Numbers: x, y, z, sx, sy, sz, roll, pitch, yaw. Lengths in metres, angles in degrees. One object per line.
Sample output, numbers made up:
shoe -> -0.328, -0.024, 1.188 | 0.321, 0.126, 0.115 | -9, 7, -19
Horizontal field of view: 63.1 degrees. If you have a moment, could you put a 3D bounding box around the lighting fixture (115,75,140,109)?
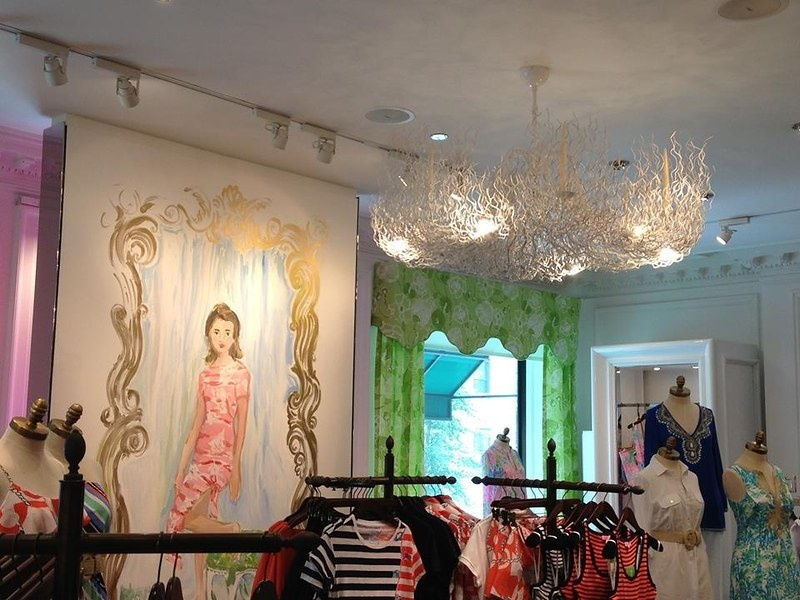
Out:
lighting fixture -> -1.391, -1.052, 3.318 | 0.109, 0.147, 0.196 | 4, -8, -25

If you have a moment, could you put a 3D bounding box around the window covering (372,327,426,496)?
window covering -> -0.007, 0.881, 5.486 | 0.496, 1.181, 0.092 | 5, -7, -28

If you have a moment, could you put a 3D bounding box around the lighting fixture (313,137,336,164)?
lighting fixture -> -0.451, -0.898, 3.922 | 0.100, 0.177, 0.169 | 2, 1, -38

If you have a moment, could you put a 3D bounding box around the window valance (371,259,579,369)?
window valance -> 0.669, 0.211, 6.122 | 0.419, 0.850, 3.011 | -4, -8, 45

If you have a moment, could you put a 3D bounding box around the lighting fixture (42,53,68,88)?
lighting fixture -> -1.641, -1.100, 3.099 | 0.098, 0.160, 0.150 | 0, -1, -20

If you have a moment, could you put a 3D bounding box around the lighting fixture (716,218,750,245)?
lighting fixture -> 2.705, -0.543, 5.245 | 0.236, 0.185, 0.330 | -3, -8, 30

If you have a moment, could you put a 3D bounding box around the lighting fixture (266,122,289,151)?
lighting fixture -> -0.705, -0.941, 3.759 | 0.168, 0.180, 0.109 | -1, -1, 33
